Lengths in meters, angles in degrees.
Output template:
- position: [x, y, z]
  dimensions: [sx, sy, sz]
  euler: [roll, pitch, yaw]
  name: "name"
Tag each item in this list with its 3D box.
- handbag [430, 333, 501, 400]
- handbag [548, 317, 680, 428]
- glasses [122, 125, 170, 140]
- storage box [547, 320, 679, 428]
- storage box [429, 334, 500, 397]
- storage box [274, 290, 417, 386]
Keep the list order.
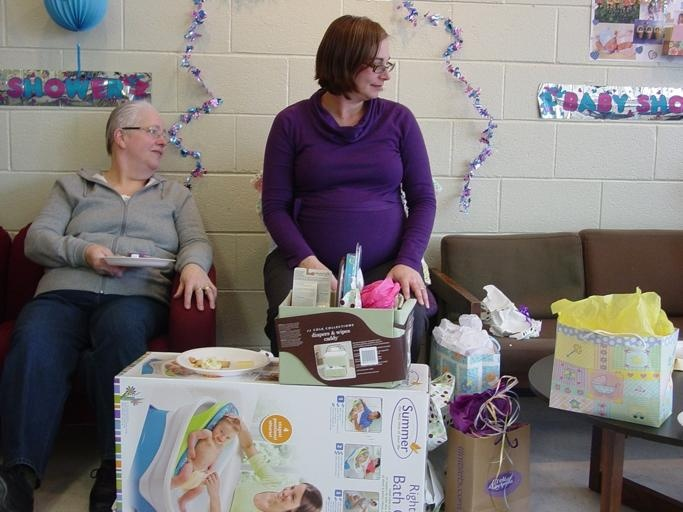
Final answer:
- position: [0.425, 0.423, 2.140]
  dimensions: [0.126, 0.165, 0.233]
  euler: [-10, -1, 10]
  name: "handbag"
- position: [0.760, 0.246, 1.557]
  dimensions: [0.371, 0.270, 0.249]
  euler: [4, 2, 32]
  name: "handbag"
- position: [-0.896, -0.567, 2.525]
  dimensions: [0.114, 0.035, 0.112]
  euler: [1, 3, 13]
  name: "glasses"
- position: [0.750, 0.331, 1.564]
  dimensions: [0.290, 0.256, 0.068]
  euler: [2, 10, 25]
  name: "storage box"
- position: [0.509, 0.370, 2.132]
  dimensions: [0.153, 0.201, 0.286]
  euler: [-10, 30, 1]
  name: "storage box"
- position: [-0.015, 0.247, 1.539]
  dimensions: [0.322, 0.190, 0.233]
  euler: [0, 1, 6]
  name: "storage box"
